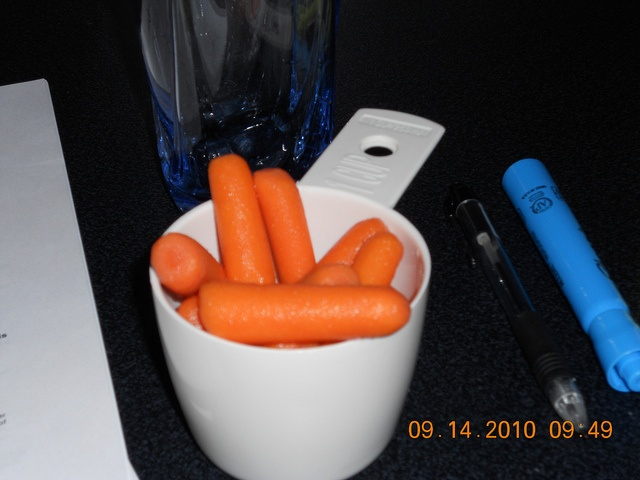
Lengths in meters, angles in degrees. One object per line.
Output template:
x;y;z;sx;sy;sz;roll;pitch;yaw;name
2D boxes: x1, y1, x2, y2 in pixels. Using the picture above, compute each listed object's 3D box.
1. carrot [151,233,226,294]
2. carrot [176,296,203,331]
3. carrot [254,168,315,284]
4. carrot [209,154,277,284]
-0.102;0.019;0.383;0.025;0.043;0.029;44;94;10;carrot
-0.110;0.060;0.413;0.025;0.014;0.027;12;54;-48;carrot
-0.031;-0.013;0.437;0.035;0.035;0.123;-9;96;-2;carrot
-0.070;-0.014;0.453;0.038;0.038;0.135;-8;88;-24;carrot
